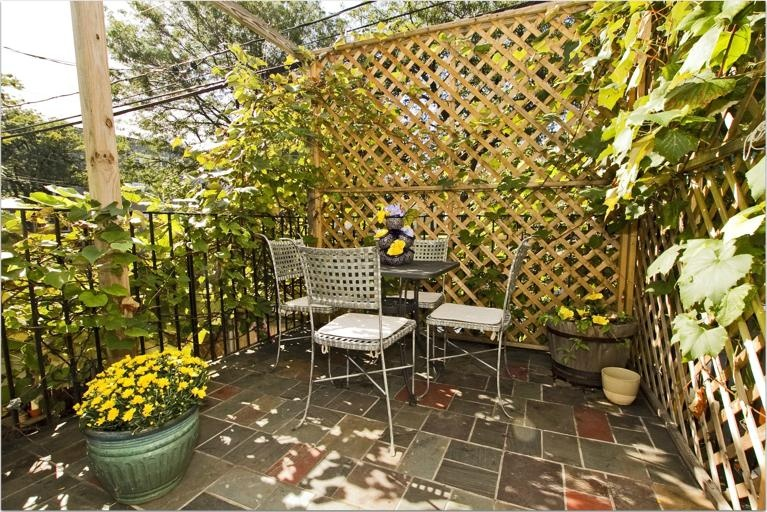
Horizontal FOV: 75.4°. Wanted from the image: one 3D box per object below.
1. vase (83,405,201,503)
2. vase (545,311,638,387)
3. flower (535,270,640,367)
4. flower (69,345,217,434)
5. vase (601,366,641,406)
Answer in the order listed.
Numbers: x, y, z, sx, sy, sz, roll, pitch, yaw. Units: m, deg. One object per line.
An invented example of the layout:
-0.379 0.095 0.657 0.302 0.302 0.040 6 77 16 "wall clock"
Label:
-1.481 1.179 2.964 0.573 0.363 0.599 -6 -5 36 "vase"
1.559 0.690 3.734 0.603 0.367 0.565 0 -2 16 "vase"
1.675 0.644 3.992 0.750 0.659 0.758 2 0 13 "flower"
-1.568 0.908 3.082 0.712 0.300 0.689 -3 -4 3 "flower"
1.729 0.948 3.626 0.259 0.236 0.223 -2 5 21 "vase"
